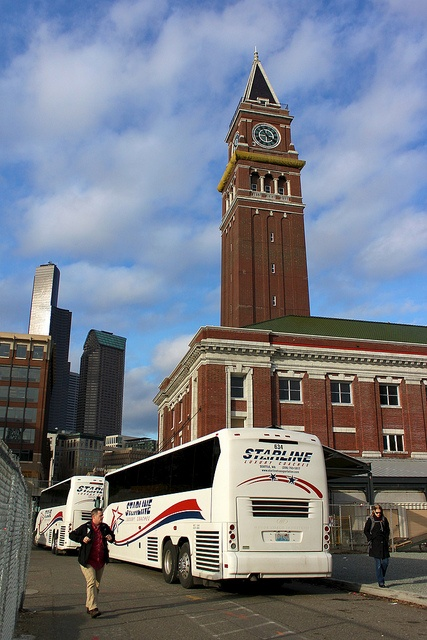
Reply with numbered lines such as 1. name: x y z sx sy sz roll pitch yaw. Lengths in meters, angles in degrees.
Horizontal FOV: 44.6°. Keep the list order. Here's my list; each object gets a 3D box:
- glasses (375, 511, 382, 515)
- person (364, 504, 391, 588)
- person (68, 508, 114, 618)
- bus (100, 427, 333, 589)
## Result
1. glasses: 3.554 4.176 11.278 0.117 0.124 0.082 0 -16 11
2. person: 3.476 4.801 11.007 0.510 1.612 1.203 -5 -17 14
3. person: -1.899 3.732 8.027 0.642 1.525 0.999 2 -16 -11
4. bus: 0.160 5.281 13.906 2.938 3.091 10.886 10 -28 -18
